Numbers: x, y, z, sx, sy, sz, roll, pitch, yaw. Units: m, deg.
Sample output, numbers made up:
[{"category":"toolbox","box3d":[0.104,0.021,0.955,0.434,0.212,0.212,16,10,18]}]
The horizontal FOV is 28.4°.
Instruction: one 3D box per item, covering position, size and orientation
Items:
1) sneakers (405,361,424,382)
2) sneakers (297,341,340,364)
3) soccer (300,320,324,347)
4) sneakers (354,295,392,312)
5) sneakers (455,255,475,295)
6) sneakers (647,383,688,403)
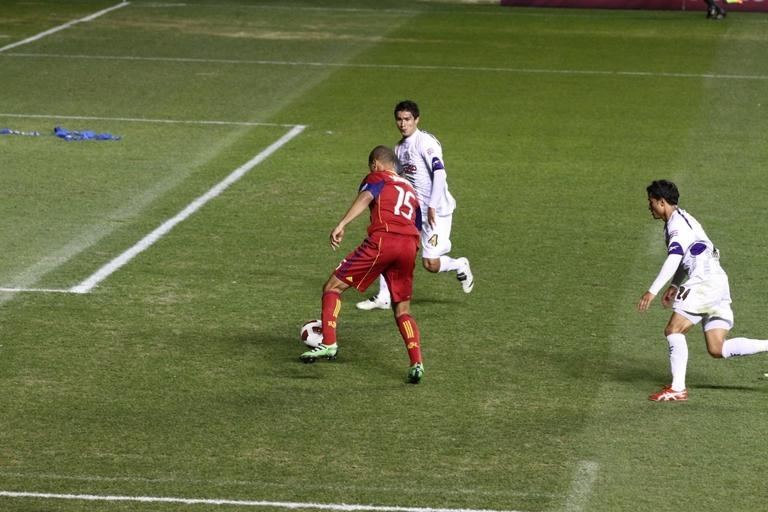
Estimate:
[{"category":"sneakers","box3d":[0.316,1.270,16.853,0.203,0.190,0.234,12,16,-11]},{"category":"sneakers","box3d":[-0.698,1.068,16.987,0.509,0.177,0.169,-3,8,-14]},{"category":"soccer","box3d":[-0.810,0.866,17.282,0.335,0.277,0.309,2,-5,-41]},{"category":"sneakers","box3d":[-0.127,0.562,18.402,0.475,0.147,0.155,2,1,-2]},{"category":"sneakers","box3d":[1.036,0.229,18.518,0.196,0.474,0.199,0,53,20]},{"category":"sneakers","box3d":[3.130,1.504,16.731,0.529,0.164,0.153,1,-1,3]}]
